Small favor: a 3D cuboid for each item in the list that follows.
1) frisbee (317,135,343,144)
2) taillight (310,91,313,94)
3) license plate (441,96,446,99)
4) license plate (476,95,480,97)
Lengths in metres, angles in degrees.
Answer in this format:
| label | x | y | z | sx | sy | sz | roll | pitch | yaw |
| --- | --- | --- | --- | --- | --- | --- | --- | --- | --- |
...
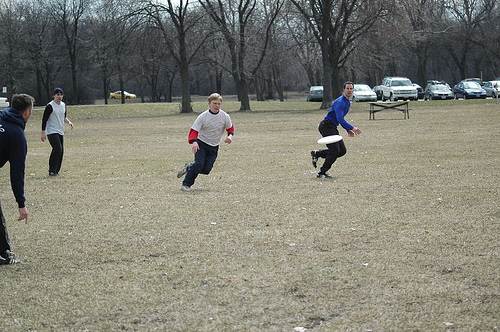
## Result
| label | x | y | z | sx | sy | sz | roll | pitch | yaw |
| --- | --- | --- | --- | --- | --- | --- | --- | --- | --- |
| frisbee | 1.793 | -0.584 | 15.071 | 0.506 | 0.178 | 0.441 | -1 | 6 | 11 |
| taillight | 5.940 | -7.040 | 64.625 | 0.335 | 0.239 | 0.140 | 2 | 7 | 35 |
| license plate | 15.905 | -5.640 | 55.265 | 0.240 | 0.155 | 0.123 | -1 | -6 | 6 |
| license plate | 17.799 | -5.507 | 52.685 | 0.216 | 0.108 | 0.142 | 2 | -16 | 5 |
